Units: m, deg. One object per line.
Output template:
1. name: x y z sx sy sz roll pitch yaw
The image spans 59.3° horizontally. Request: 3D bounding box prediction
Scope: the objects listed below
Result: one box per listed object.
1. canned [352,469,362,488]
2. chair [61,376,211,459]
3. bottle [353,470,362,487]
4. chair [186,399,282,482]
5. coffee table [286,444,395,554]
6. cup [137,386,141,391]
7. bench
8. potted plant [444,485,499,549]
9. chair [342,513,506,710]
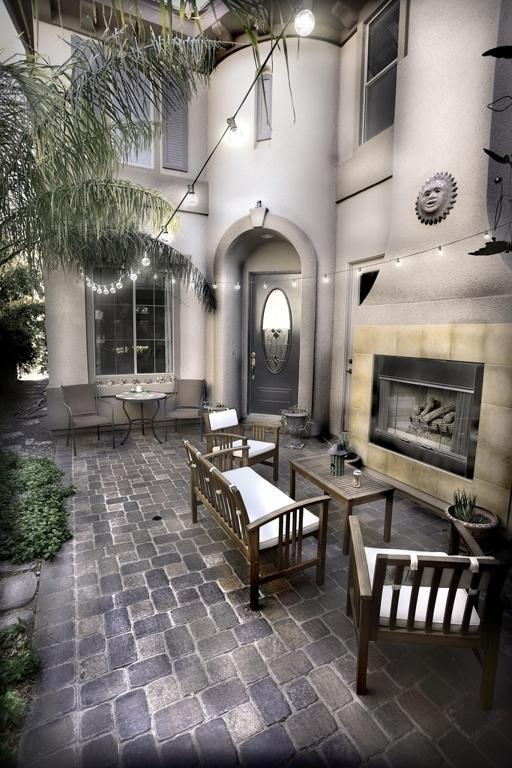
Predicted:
1. canned: 0.851 0.809 3.814 0.070 0.126 0.073 -7 16 -28
2. chair: -1.903 0.399 7.329 2.317 0.892 1.270 -5 10 -37
3. bottle: 0.853 0.808 3.807 0.068 0.122 0.071 1 15 0
4. chair: -0.149 0.760 5.190 0.694 0.940 0.720 -3 5 28
5. coffee table: 0.772 0.876 3.853 0.535 0.582 1.096 -5 14 -27
6. cup: -1.884 0.072 7.323 0.054 0.064 0.101 4 -9 -17
7. bench: -0.077 0.941 3.558 0.638 0.796 1.467 -6 11 -22
8. potted plant: 1.701 1.050 3.624 0.391 0.448 0.417 -4 12 -12
9. chair: 0.815 1.066 2.505 0.614 0.832 0.902 2 14 6
